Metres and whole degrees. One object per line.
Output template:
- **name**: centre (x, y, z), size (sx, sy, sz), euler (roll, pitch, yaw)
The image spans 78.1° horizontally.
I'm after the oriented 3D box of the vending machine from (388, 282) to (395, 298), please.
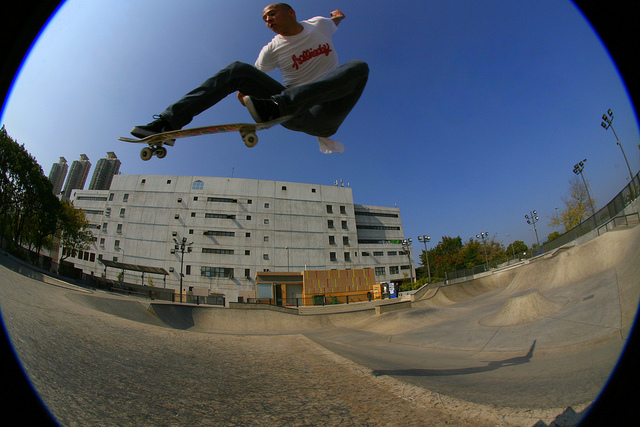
- **vending machine**: centre (4.531, 4.829, 24.814), size (0.405, 1.014, 0.673), euler (0, 8, 0)
